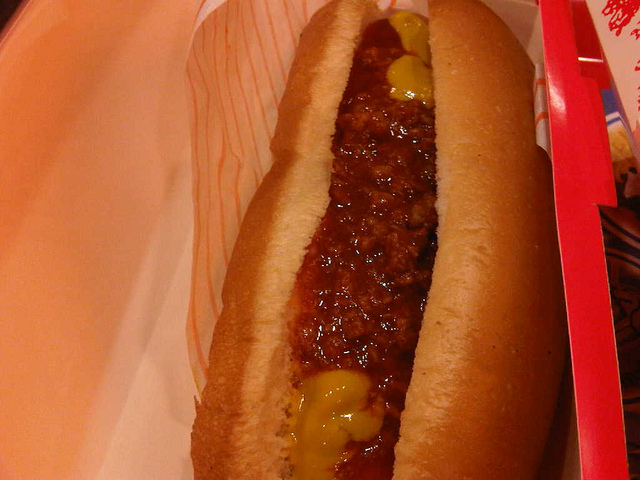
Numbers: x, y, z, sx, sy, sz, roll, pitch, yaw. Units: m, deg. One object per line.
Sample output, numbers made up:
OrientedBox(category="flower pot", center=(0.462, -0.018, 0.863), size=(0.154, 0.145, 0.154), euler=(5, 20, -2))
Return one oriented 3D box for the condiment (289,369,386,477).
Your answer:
OrientedBox(category="condiment", center=(0.044, 0.423, 1.740), size=(0.186, 0.099, 0.267), euler=(27, 87, 11))
